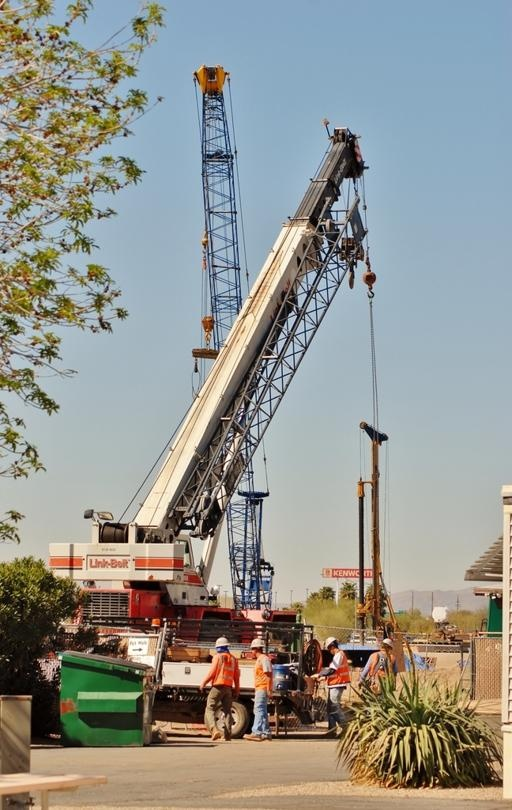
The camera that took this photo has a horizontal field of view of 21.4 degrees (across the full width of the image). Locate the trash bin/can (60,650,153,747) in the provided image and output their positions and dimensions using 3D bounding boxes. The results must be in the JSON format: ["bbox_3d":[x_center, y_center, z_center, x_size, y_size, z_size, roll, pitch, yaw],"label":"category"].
[{"bbox_3d":[-1.910,3.847,17.676,1.386,1.307,1.101,1,-3,7],"label":"trash bin/can"}]

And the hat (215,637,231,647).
[{"bbox_3d":[-0.453,3.245,18.413,0.167,0.084,0.203,3,-22,-15],"label":"hat"}]

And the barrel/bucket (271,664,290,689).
[{"bbox_3d":[0.351,3.907,19.259,0.299,0.360,0.155,6,-14,-17],"label":"barrel/bucket"}]

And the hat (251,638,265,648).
[{"bbox_3d":[0.024,3.283,18.449,0.150,0.098,0.187,-2,-10,0],"label":"hat"}]

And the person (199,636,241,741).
[{"bbox_3d":[-0.470,3.844,18.242,0.463,1.348,0.869,2,-13,-1],"label":"person"}]
